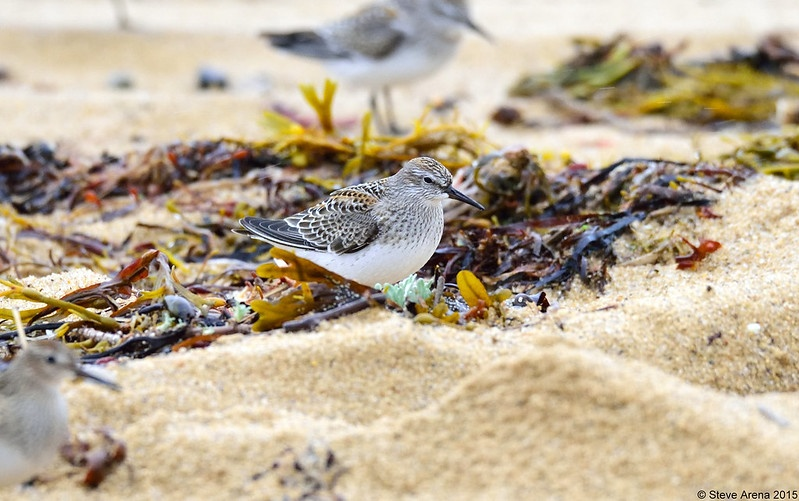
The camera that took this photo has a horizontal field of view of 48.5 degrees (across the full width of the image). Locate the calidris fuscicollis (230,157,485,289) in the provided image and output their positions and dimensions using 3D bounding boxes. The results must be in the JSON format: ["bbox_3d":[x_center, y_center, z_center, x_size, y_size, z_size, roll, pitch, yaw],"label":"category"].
[{"bbox_3d":[-0.172,-0.123,5.514,1.356,0.333,0.701,-16,56,-6],"label":"calidris fuscicollis"}]
